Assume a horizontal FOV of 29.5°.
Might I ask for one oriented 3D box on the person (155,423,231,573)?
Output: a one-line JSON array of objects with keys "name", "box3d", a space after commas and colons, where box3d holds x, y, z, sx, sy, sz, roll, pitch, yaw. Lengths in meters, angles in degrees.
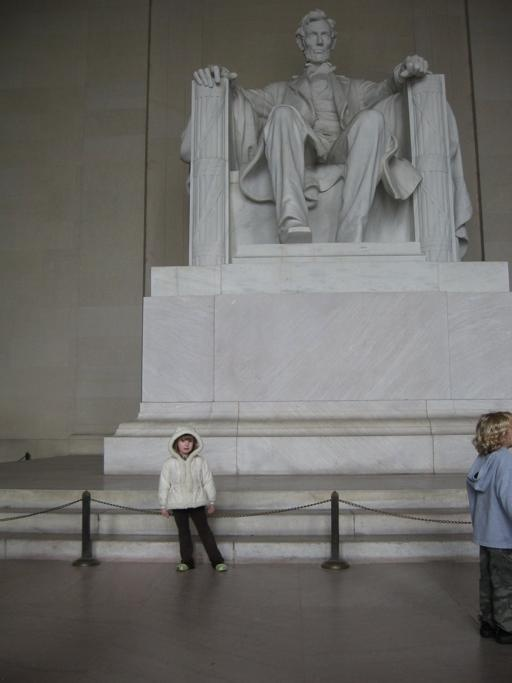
[{"name": "person", "box3d": [-0.410, 1.008, 6.181, 0.395, 0.857, 0.534, -3, 9, -6]}]
